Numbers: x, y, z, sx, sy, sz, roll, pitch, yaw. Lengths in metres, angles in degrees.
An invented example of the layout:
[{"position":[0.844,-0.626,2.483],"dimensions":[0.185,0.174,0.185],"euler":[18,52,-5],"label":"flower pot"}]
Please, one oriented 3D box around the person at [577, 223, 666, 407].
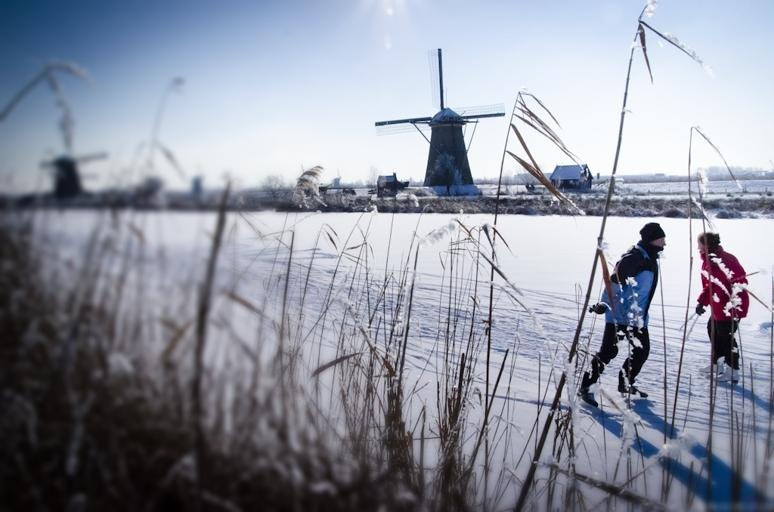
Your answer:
[{"position":[1.958,0.514,4.592],"dimensions":[0.573,1.620,2.028],"euler":[3,4,27],"label":"person"}]
